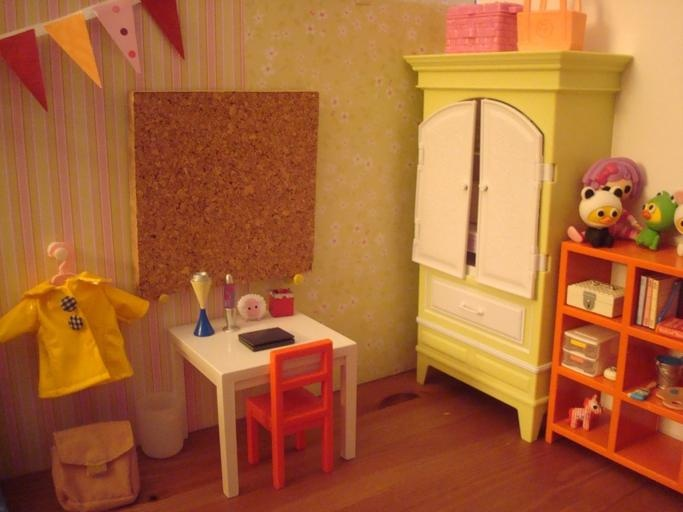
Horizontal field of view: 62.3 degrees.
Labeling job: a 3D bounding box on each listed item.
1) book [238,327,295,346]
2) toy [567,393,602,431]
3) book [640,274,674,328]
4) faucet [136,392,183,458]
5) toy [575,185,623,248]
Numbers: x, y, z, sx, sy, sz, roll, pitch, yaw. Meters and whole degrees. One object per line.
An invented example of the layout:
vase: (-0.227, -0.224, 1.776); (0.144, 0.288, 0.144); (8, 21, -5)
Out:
book: (-0.370, 0.405, 2.777); (0.127, 0.027, 0.122); (-8, 16, -33)
toy: (1.282, 0.834, 3.058); (0.174, 0.203, 0.140); (2, 11, 7)
book: (1.463, 0.211, 2.623); (0.124, 0.208, 0.214); (10, 12, 40)
faucet: (-0.943, 0.898, 2.977); (0.238, 0.255, 0.248); (0, 6, 15)
toy: (1.298, -0.193, 2.843); (0.211, 0.294, 0.201); (-4, 20, 1)
